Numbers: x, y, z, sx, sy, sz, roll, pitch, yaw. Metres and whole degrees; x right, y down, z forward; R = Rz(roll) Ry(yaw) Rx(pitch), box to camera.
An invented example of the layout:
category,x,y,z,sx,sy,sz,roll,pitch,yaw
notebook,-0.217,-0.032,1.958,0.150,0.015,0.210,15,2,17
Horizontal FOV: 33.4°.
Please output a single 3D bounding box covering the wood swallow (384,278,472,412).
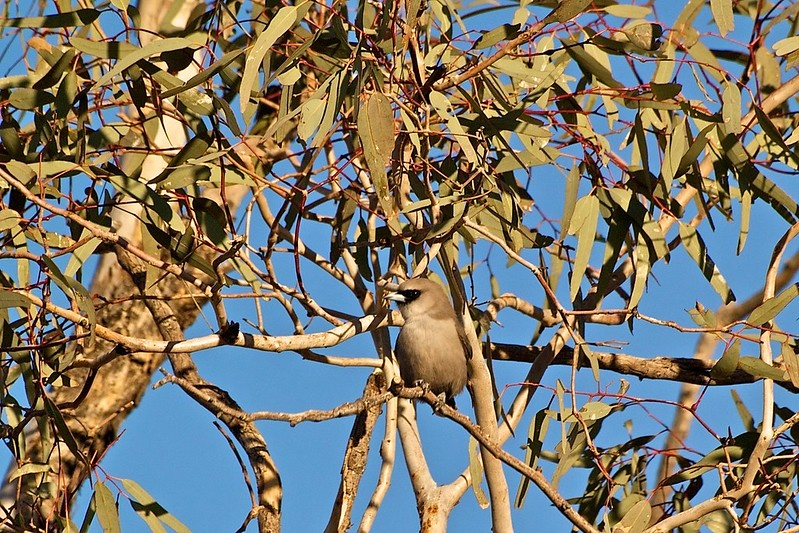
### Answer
category,x,y,z,sx,sy,sz,roll,pitch,yaw
wood swallow,0.178,0.428,8.063,0.453,0.572,1.012,-2,-57,4
